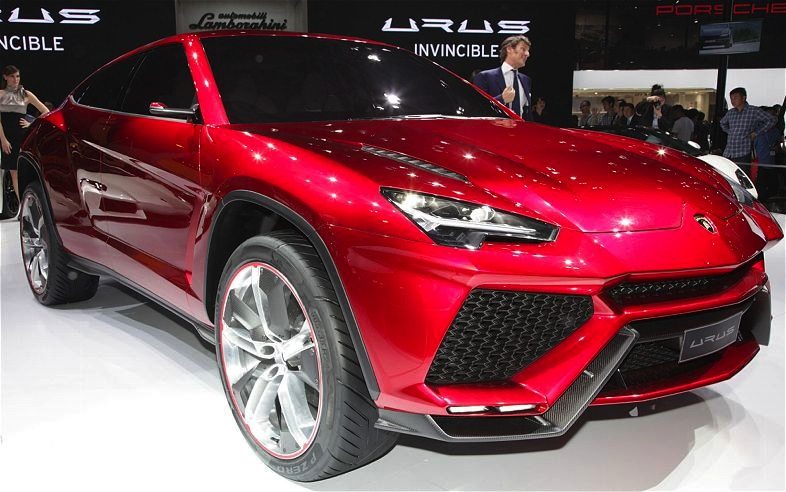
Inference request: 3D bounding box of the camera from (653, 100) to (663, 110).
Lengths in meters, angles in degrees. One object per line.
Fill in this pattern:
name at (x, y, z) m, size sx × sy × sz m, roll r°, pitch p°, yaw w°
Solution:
camera at (5.460, -2.909, 9.597) m, size 0.170 × 0.180 × 0.206 m, roll 0°, pitch 8°, yaw -11°
